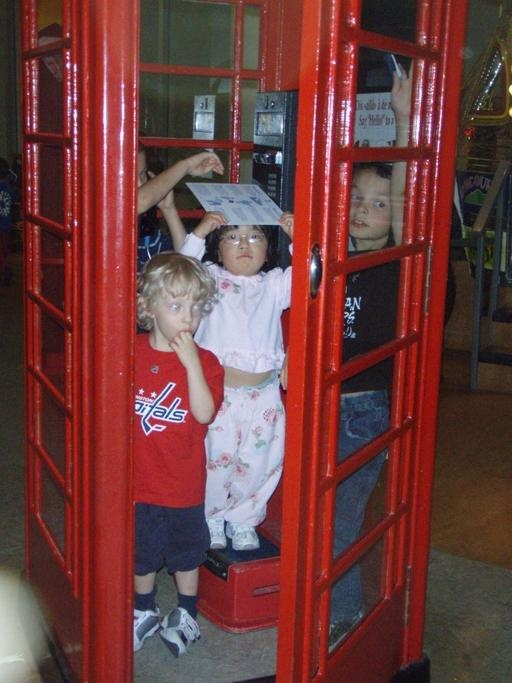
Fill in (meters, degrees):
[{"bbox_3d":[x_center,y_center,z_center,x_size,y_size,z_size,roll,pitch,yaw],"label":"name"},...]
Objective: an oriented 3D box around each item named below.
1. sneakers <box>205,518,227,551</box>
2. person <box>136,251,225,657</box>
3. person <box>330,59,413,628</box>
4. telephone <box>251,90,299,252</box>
[{"bbox_3d":[-0.114,0.591,1.877,0.042,0.047,0.121,0,-2,-4],"label":"sneakers"},{"bbox_3d":[-0.212,0.309,1.662,0.224,1.059,0.267,1,13,-11],"label":"person"},{"bbox_3d":[0.219,0.039,1.207,0.087,1.090,0.289,8,14,18],"label":"person"},{"bbox_3d":[0.080,-0.546,2.037,0.133,0.437,0.186,-10,25,-28],"label":"telephone"}]
